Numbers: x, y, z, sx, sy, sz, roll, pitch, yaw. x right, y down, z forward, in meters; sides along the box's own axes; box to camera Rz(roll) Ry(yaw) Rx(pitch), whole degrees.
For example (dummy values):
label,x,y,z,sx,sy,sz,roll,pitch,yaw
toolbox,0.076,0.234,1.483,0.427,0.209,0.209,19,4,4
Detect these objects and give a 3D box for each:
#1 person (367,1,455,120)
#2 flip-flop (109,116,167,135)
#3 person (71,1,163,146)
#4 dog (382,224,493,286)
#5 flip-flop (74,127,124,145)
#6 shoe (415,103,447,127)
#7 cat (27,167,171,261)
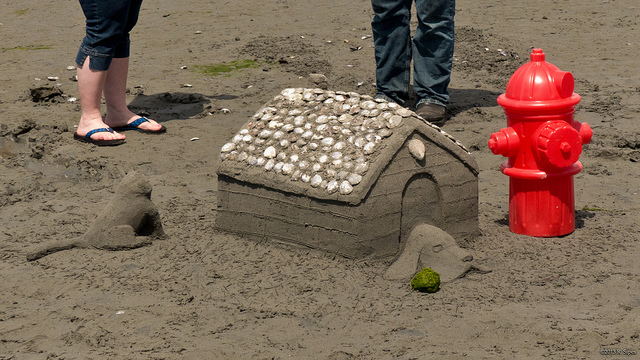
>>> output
label,x,y,z,sx,sy,sz,roll,pitch,yaw
person,1.084,-1.412,10.145,0.932,1.293,0.881,0,31,-1
flip-flop,-2.114,-0.628,10.163,0.657,0.127,0.209,-1,15,4
person,-2.396,-1.237,9.766,0.939,1.617,0.912,0,31,-1
dog,1.060,0.737,8.069,0.791,0.299,0.701,13,24,34
flip-flop,-2.511,-0.488,9.815,0.456,0.100,0.212,3,8,20
shoe,1.320,-0.752,10.188,0.393,0.270,0.291,-2,29,-4
cat,-2.142,0.363,8.277,0.605,0.778,1.690,17,17,27
